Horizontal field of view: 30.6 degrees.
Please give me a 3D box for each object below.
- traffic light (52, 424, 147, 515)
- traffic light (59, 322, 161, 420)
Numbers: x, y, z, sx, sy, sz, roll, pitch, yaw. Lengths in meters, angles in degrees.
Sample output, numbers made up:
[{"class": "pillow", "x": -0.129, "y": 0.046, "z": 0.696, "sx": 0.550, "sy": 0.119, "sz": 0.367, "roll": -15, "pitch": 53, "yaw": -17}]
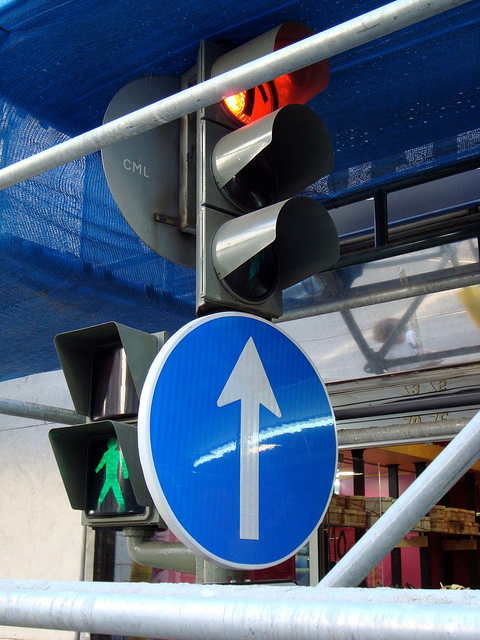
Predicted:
[{"class": "traffic light", "x": -0.387, "y": 0.418, "z": 2.413, "sx": 0.275, "sy": 0.258, "sz": 0.161, "roll": -8, "pitch": -10, "yaw": 38}, {"class": "traffic light", "x": -0.384, "y": 0.126, "z": 2.551, "sx": 0.255, "sy": 0.317, "sz": 0.336, "roll": 9, "pitch": -11, "yaw": -43}]
